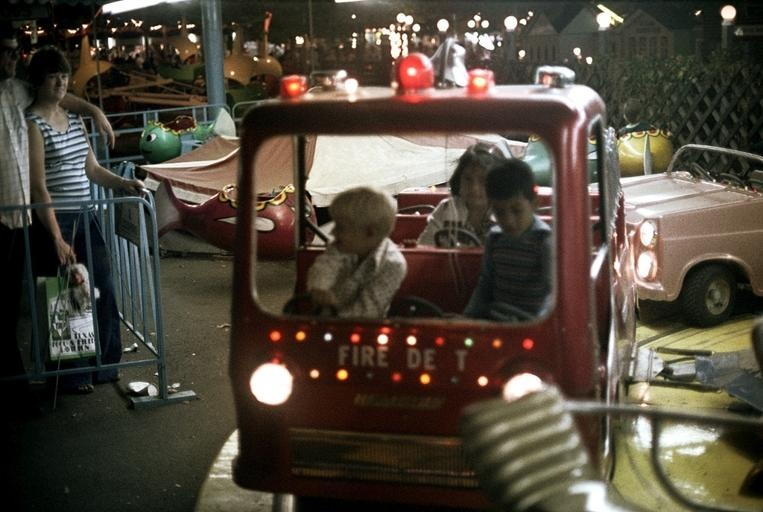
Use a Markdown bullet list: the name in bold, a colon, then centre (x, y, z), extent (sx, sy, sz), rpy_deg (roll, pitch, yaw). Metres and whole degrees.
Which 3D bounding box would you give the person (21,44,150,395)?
- **person**: centre (-2.743, -0.262, 6.503), extent (0.632, 3.091, 0.879), rpy_deg (6, 12, 34)

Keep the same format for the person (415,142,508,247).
- **person**: centre (0.679, -0.438, 5.506), extent (0.763, 0.796, 0.448), rpy_deg (1, 14, 4)

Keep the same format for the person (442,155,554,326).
- **person**: centre (0.838, -0.081, 4.430), extent (0.466, 0.968, 0.616), rpy_deg (-8, 13, -37)

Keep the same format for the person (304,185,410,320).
- **person**: centre (-0.153, 0.008, 4.610), extent (0.670, 0.979, 0.543), rpy_deg (17, 21, 35)
